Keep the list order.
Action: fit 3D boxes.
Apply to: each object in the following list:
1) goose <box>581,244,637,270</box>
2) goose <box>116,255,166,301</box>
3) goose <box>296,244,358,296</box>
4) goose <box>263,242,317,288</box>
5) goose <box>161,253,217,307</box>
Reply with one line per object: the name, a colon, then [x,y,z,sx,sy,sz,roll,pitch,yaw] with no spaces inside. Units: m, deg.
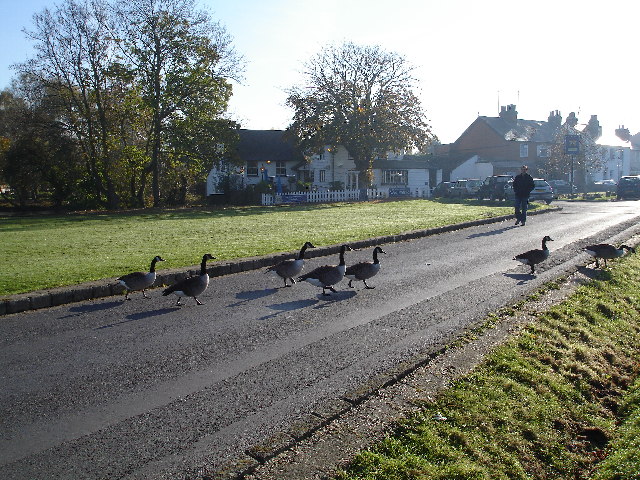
goose: [6.761,0.292,13.909,0.732,0.565,1.535,5,10,32]
goose: [-3.493,0.720,11.669,1.084,1.024,0.501,1,1,1]
goose: [0.090,0.603,11.670,1.042,1.076,0.446,1,0,3]
goose: [-0.631,0.484,12.417,1.000,1.029,0.462,6,1,14]
goose: [-2.544,0.800,11.270,0.749,0.808,1.298,-2,8,-9]
